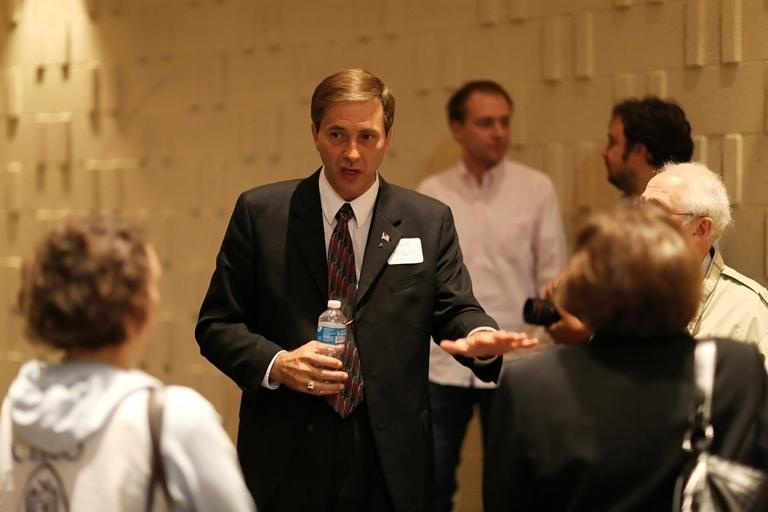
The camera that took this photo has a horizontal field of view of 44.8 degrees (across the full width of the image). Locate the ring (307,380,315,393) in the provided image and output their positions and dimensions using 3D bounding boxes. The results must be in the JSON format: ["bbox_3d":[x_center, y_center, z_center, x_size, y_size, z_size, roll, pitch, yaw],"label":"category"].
[{"bbox_3d":[-0.264,0.482,3.425,0.025,0.040,0.037,16,-43,-6],"label":"ring"}]

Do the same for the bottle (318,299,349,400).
[{"bbox_3d":[-0.191,0.270,3.489,0.108,0.207,0.156,-2,1,10],"label":"bottle"}]

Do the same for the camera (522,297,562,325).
[{"bbox_3d":[0.607,0.217,3.607,0.169,0.136,0.099,3,1,-17],"label":"camera"}]
